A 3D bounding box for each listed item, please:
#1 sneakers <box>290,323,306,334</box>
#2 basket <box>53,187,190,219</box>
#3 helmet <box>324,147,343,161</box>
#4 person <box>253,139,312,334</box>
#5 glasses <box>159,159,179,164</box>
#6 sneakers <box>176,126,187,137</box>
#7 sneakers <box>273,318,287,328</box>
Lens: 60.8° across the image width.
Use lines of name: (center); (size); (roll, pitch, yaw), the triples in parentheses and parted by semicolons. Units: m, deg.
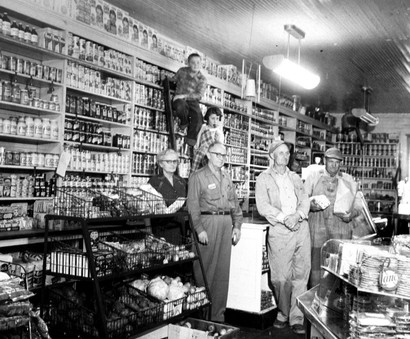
sneakers: (0.996, 1.702, 3.773); (0.172, 0.087, 0.128); (0, -1, 28)
basket: (-0.703, 0.271, 2.979); (1.082, 0.257, 0.394); (2, -2, -44)
helmet: (1.595, -0.195, 4.337); (0.197, 0.173, 0.284); (0, -1, 19)
person: (0.892, 0.715, 4.012); (0.608, 2.086, 0.384); (0, -2, 18)
glasses: (-0.398, -0.088, 3.802); (0.198, 0.063, 0.111); (1, -1, -8)
sneakers: (-0.377, -0.619, 5.692); (0.110, 0.178, 0.067); (5, 31, -7)
sneakers: (0.848, 1.717, 3.925); (0.151, 0.080, 0.126); (0, -1, 14)
